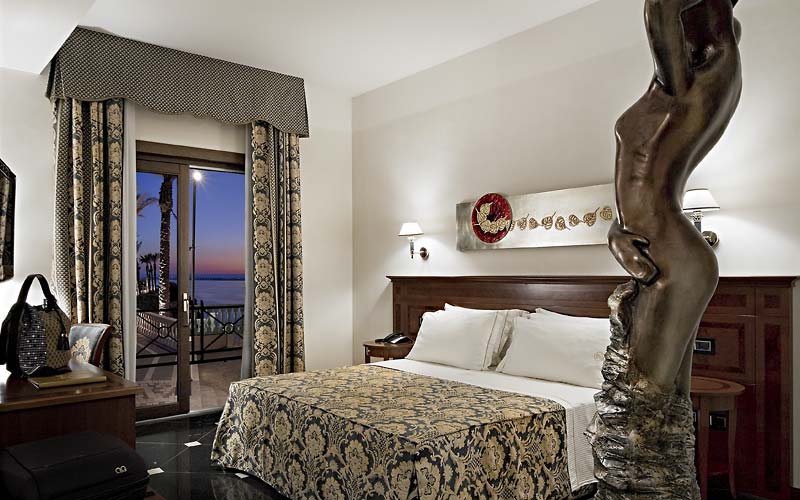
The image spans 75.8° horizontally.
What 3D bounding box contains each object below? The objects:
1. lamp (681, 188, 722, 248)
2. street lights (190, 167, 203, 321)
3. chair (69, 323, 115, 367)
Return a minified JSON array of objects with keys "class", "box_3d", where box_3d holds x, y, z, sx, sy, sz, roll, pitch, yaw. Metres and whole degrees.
[{"class":"lamp","box_3d":[2.144,-0.243,3.675,0.259,0.360,0.259,-1,-2,-6]},{"class":"street lights","box_3d":[-2.362,-0.018,5.902,0.160,1.628,0.060,29,33,24]},{"class":"chair","box_3d":[-2.181,0.655,3.619,0.226,0.246,0.517,-1,1,-38]}]
